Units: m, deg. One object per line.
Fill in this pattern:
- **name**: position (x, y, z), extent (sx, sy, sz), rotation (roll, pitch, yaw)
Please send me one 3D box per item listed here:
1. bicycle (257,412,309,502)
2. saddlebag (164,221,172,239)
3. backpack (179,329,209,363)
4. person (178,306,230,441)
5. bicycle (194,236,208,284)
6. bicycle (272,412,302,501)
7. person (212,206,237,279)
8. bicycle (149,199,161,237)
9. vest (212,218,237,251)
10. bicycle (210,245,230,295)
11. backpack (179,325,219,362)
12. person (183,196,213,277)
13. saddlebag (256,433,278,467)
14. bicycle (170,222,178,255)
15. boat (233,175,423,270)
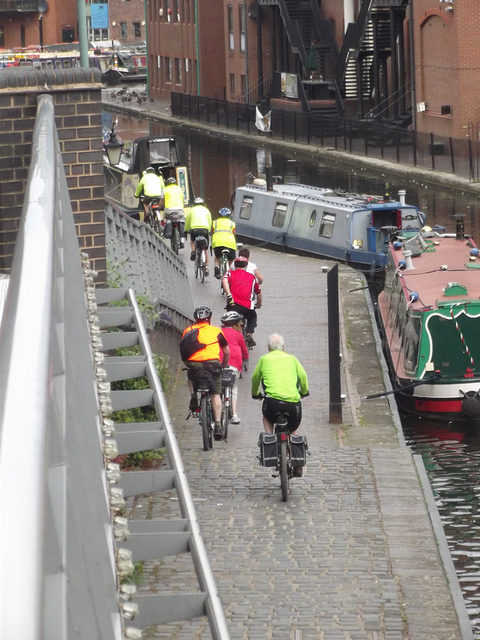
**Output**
- **bicycle**: position (0.358, 1.124, 12.108), extent (0.397, 0.763, 0.593), rotation (0, 7, 1)
- **saddlebag**: position (-1.333, -1.666, 26.969), extent (0.142, 0.332, 0.591), rotation (0, 7, -4)
- **backpack**: position (-0.452, 0.234, 13.104), extent (0.303, 0.303, 0.145), rotation (5, 9, 36)
- **person**: position (-0.328, 0.529, 13.392), extent (0.444, 1.291, 0.698), rotation (0, 7, -2)
- **bicycle**: position (-0.677, -1.060, 24.899), extent (0.269, 0.401, 0.615), rotation (0, 16, -2)
- **bicycle**: position (0.395, 1.067, 12.101), extent (0.217, 0.355, 0.551), rotation (0, 8, 2)
- **person**: position (-0.252, -1.184, 23.059), extent (0.358, 1.229, 0.397), rotation (-3, -22, 10)
- **bicycle**: position (-1.603, -1.959, 27.463), extent (0.211, 0.625, 0.712), rotation (0, 7, -4)
- **vest**: position (-0.266, -1.376, 22.900), extent (0.457, 0.728, 0.371), rotation (1, 19, 1)
- **bicycle**: position (-0.392, -0.921, 23.382), extent (0.354, 0.511, 0.794), rotation (-1, 15, -3)
- **backpack**: position (-0.410, 0.216, 13.063), extent (0.247, 0.291, 0.201), rotation (5, -18, -3)
- **person**: position (-0.677, -1.588, 24.465), extent (0.590, 0.871, 1.281), rotation (-2, 10, -2)
- **saddlebag**: position (0.220, 1.061, 12.030), extent (0.186, 0.393, 0.276), rotation (1, -1, 0)
- **bicycle**: position (-1.214, -1.534, 26.954), extent (0.116, 0.535, 0.396), rotation (0, 7, -3)
- **boat**: position (1.698, -2.054, 30.956), extent (1.701, 1.523, 5.863), rotation (-3, 10, -19)
